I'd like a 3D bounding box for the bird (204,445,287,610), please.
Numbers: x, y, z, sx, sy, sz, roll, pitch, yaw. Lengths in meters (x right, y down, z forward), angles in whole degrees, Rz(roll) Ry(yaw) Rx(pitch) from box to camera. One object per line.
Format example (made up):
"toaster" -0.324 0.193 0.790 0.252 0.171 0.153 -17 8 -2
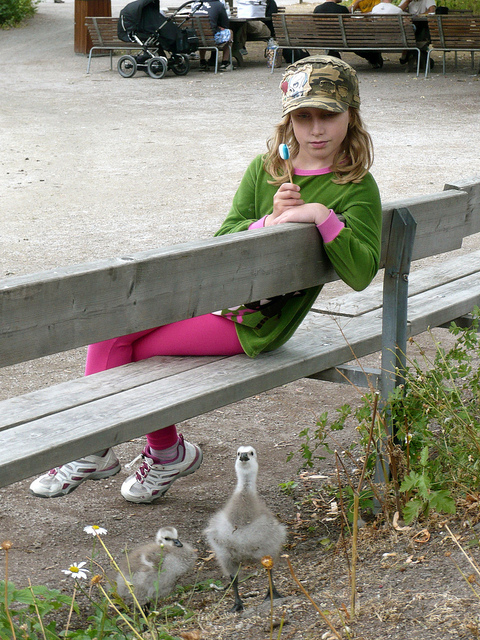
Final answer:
"bird" 0.015 0.612 2.174 0.251 0.385 0.243 0 18 7

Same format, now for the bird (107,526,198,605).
"bird" -0.344 0.757 2.117 0.372 0.209 0.218 1 -11 -17
